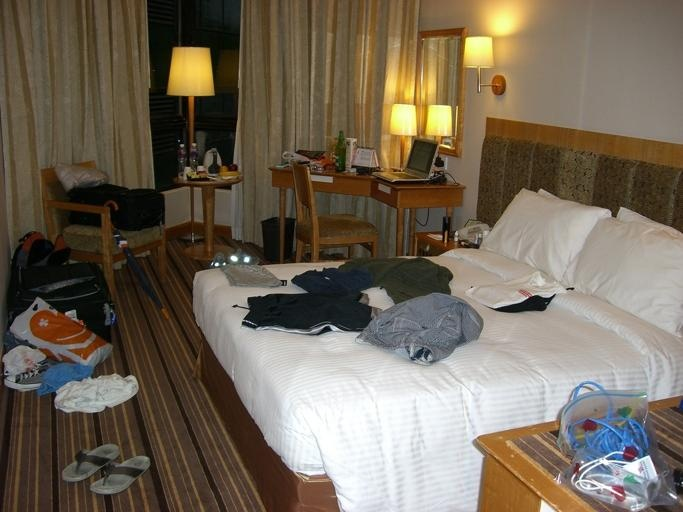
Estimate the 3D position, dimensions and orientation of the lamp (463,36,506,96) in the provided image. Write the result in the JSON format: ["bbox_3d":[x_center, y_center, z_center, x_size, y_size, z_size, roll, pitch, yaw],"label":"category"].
[{"bbox_3d":[1.124,-1.552,4.092,0.344,0.487,0.410,-3,16,-8],"label":"lamp"}]

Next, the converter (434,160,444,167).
[{"bbox_3d":[0.906,-0.853,4.633,0.080,0.079,0.023,1,-3,8],"label":"converter"}]

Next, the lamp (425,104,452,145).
[{"bbox_3d":[0.894,-1.220,4.661,0.283,0.399,0.286,-4,28,-5],"label":"lamp"}]

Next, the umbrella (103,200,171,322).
[{"bbox_3d":[-1.712,0.054,4.147,1.206,0.160,0.163,57,24,17],"label":"umbrella"}]

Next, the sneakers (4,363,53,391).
[{"bbox_3d":[-1.905,0.752,3.032,0.323,0.130,0.113,2,28,-32],"label":"sneakers"}]

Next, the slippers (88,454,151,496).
[{"bbox_3d":[-1.052,1.049,2.400,0.173,0.046,0.255,3,16,12],"label":"slippers"}]

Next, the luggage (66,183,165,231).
[{"bbox_3d":[-1.915,-0.475,4.271,0.601,0.310,0.451,9,15,22],"label":"luggage"}]

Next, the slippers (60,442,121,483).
[{"bbox_3d":[-1.223,1.006,2.459,0.092,0.066,0.220,10,18,30],"label":"slippers"}]

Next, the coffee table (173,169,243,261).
[{"bbox_3d":[-1.415,-0.502,5.633,0.873,1.020,0.911,5,18,11],"label":"coffee table"}]
